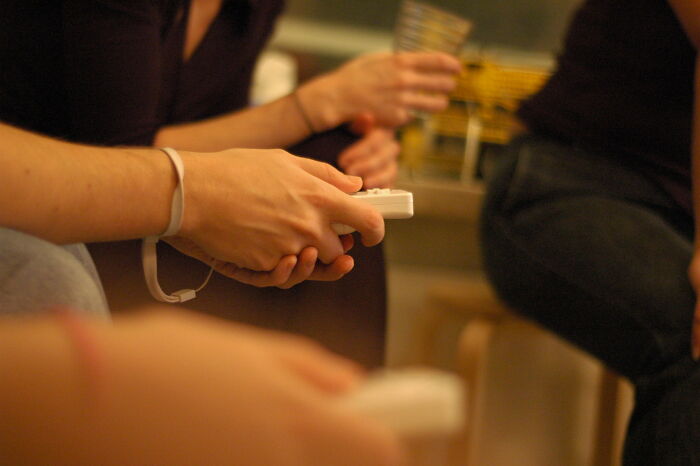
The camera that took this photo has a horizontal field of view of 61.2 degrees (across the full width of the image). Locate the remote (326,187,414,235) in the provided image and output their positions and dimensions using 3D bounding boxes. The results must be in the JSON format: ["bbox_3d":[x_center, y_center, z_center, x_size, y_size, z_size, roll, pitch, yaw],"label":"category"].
[{"bbox_3d":[0.027,-0.037,0.901,0.130,0.046,0.148,-1,1,0],"label":"remote"}]
